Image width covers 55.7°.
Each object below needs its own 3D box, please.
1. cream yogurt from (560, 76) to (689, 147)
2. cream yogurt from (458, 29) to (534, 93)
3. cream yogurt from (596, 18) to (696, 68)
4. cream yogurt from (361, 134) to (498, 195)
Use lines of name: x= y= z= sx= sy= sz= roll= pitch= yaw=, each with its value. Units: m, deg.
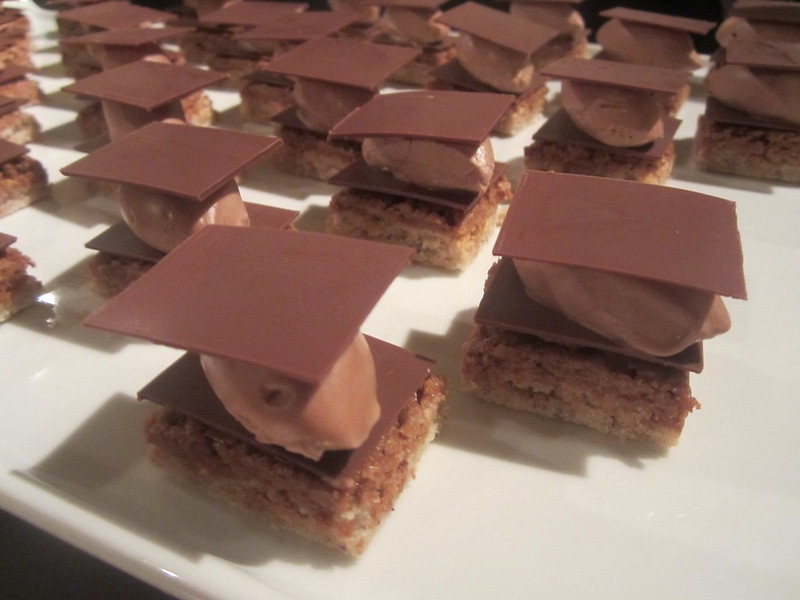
cream yogurt: x=1.082 y=-0.959 z=3.864 sx=0.552 sy=0.326 sz=0.405 roll=7 pitch=13 yaw=15
cream yogurt: x=0.543 y=-1.347 z=4.426 sx=0.404 sy=0.160 sz=0.334 roll=25 pitch=56 yaw=24
cream yogurt: x=1.395 y=-1.444 z=4.260 sx=0.399 sy=0.152 sz=0.340 roll=12 pitch=30 yaw=13
cream yogurt: x=0.141 y=-0.595 z=3.426 sx=0.422 sy=0.143 sz=0.294 roll=13 pitch=23 yaw=12
